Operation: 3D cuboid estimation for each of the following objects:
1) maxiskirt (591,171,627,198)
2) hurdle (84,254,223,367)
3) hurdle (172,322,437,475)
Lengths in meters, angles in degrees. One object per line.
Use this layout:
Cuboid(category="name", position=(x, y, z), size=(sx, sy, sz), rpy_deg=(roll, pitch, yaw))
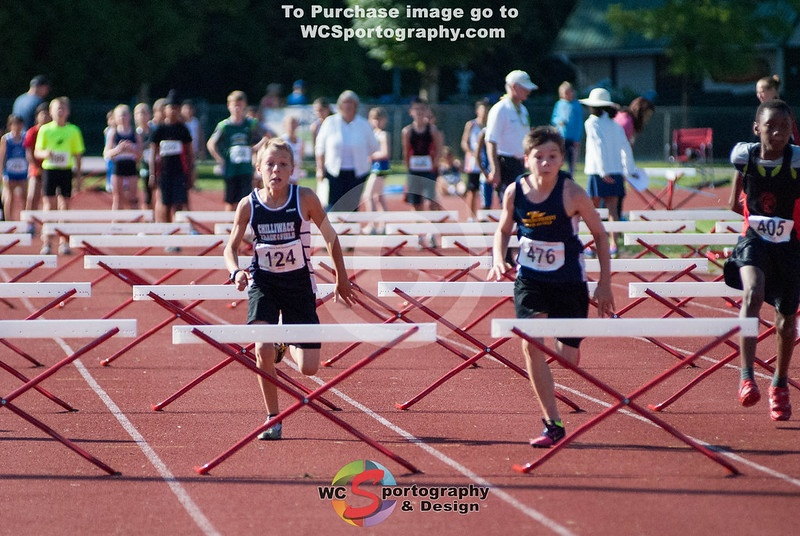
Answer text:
Cuboid(category="maxiskirt", position=(2.932, -1.145, 14.872), size=(0.385, 0.401, 0.380), rpy_deg=(2, -5, -3))
Cuboid(category="hurdle", position=(-2.313, 0.396, 10.219), size=(1.815, 1.020, 0.999), rpy_deg=(-1, 3, -2))
Cuboid(category="hurdle", position=(-0.730, 1.008, 8.549), size=(1.906, 1.324, 0.827), rpy_deg=(-2, 11, 1))
